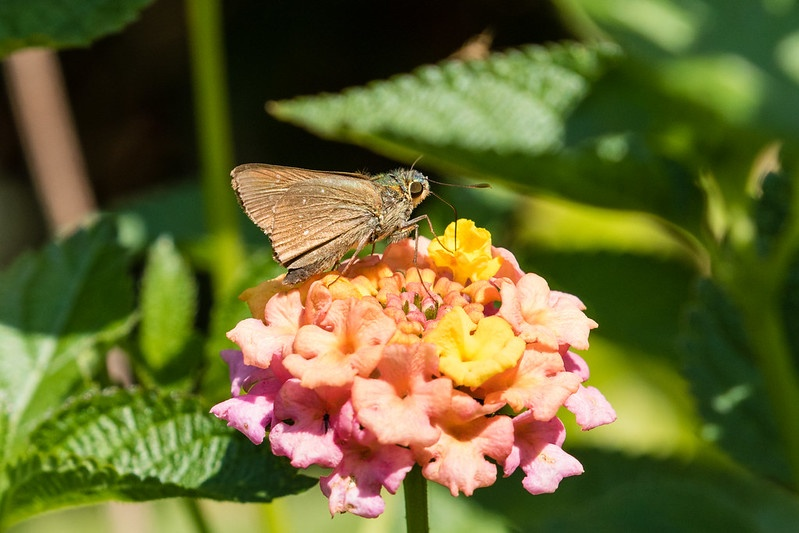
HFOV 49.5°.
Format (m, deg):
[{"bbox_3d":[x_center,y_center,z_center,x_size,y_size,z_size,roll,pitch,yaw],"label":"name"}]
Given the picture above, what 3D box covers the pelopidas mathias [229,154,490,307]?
[{"bbox_3d":[-0.153,-0.133,2.307,0.495,0.357,0.351,-21,88,-10],"label":"pelopidas mathias"}]
